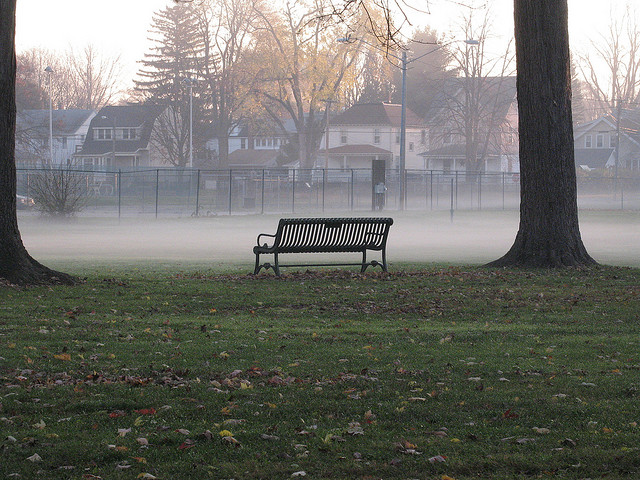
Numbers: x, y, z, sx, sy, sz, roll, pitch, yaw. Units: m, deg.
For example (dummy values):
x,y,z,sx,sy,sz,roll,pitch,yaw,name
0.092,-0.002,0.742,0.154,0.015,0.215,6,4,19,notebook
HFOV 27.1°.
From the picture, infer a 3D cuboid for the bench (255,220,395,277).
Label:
x,y,z,sx,sy,sz,roll,pitch,yaw,name
0.219,0.129,33.826,3.178,1.377,3.856,0,3,2,bench
